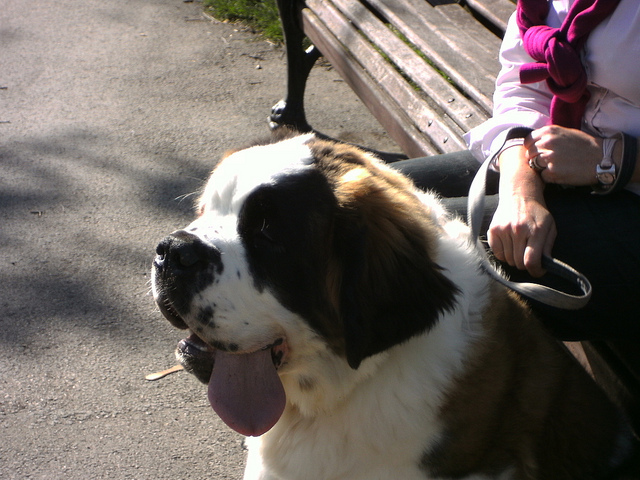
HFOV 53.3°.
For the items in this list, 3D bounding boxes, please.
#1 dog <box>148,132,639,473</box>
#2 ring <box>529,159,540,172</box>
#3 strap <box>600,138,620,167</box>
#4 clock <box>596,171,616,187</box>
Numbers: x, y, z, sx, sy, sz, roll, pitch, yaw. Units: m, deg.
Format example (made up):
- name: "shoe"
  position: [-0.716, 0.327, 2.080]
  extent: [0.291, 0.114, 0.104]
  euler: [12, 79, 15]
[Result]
- name: "dog"
  position: [0.315, 0.321, 3.236]
  extent: [2.128, 1.475, 1.380]
  euler: [4, -1, -27]
- name: "ring"
  position: [1.065, -0.366, 3.153]
  extent: [0.019, 0.044, 0.054]
  euler: [-53, 41, 5]
- name: "strap"
  position: [1.371, -0.414, 3.001]
  extent: [0.095, 0.038, 0.137]
  euler: [-2, 78, 43]
- name: "clock"
  position: [1.358, -0.286, 2.997]
  extent: [0.075, 0.051, 0.076]
  euler: [17, 13, 7]
